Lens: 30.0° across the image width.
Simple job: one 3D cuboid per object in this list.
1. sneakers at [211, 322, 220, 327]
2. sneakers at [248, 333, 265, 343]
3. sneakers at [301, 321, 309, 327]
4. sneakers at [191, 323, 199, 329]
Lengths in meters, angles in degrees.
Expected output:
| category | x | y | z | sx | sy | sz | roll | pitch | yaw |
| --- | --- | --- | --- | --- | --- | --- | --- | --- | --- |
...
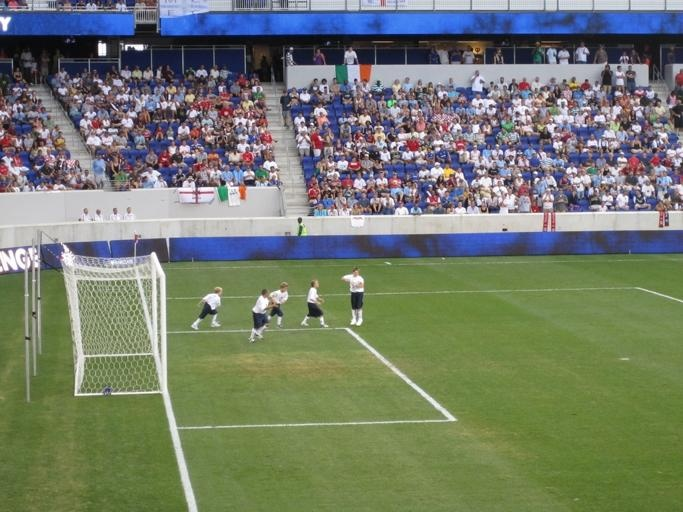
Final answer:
| category | x | y | z | sx | sy | sz | roll | pitch | yaw |
| --- | --- | --- | --- | --- | --- | --- | --- | --- | --- |
| sneakers | -4.388 | 2.355 | 44.893 | 0.322 | 0.171 | 0.118 | -1 | 7 | 11 |
| sneakers | -2.882 | 2.725 | 43.335 | 0.204 | 0.254 | 0.542 | 6 | -19 | -38 |
| sneakers | -1.262 | 2.307 | 45.211 | 0.230 | 0.260 | 0.163 | -6 | 13 | -22 |
| sneakers | -5.072 | 2.387 | 44.648 | 0.167 | 0.134 | 0.391 | -49 | 9 | -9 |
